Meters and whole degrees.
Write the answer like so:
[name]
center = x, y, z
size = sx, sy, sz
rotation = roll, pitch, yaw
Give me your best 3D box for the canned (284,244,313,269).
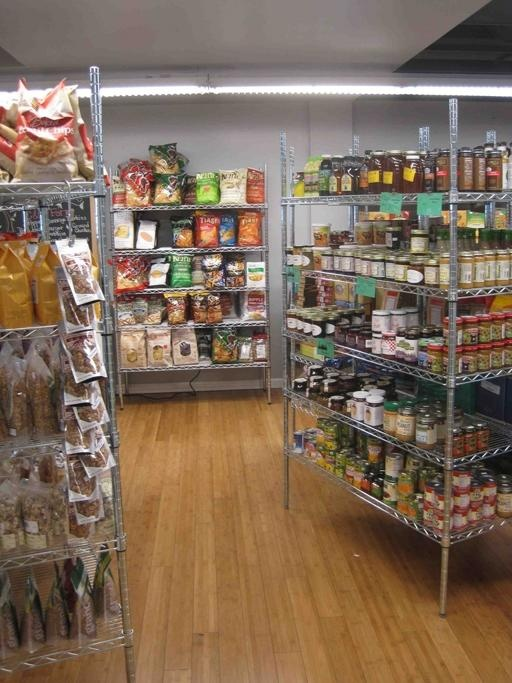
[canned]
center = 0.242, -0.496, 3.424
size = 0.190, 0.114, 0.135
rotation = -5, 11, -17
